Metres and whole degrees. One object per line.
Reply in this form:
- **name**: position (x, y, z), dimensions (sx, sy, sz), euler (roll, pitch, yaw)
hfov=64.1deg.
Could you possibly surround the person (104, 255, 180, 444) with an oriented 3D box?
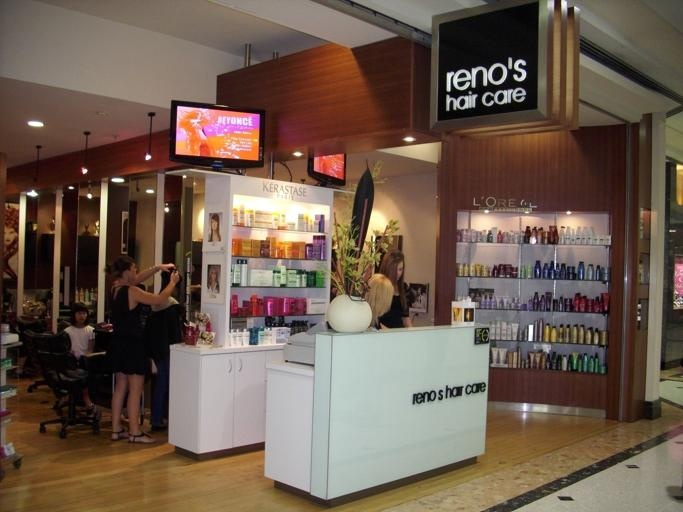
- **person**: position (-2.509, 1.162, 6.805), dimensions (0.667, 2.285, 0.691), euler (1, -1, -22)

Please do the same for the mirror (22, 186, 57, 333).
- **mirror**: position (-6.401, 0.034, 11.558), dimensions (0.443, 2.867, 1.613), euler (1, -1, -42)

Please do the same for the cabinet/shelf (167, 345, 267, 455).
- **cabinet/shelf**: position (-1.474, 1.766, 6.652), dimensions (0.735, 1.163, 1.245), euler (-7, -12, 38)

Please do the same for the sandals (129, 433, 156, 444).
- **sandals**: position (-2.431, 2.239, 6.695), dimensions (0.272, 0.105, 0.148), euler (0, -1, -10)

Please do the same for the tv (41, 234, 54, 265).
- **tv**: position (-6.251, -0.144, 11.589), dimensions (0.513, 0.628, 0.114), euler (0, -1, 44)

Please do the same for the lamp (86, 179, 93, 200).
- **lamp**: position (-4.854, -1.251, 10.512), dimensions (0.256, 0.336, 0.088), euler (0, -1, 39)

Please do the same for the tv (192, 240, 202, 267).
- **tv**: position (-2.205, -0.017, 8.325), dimensions (0.140, 0.400, 0.341), euler (1, -1, -18)

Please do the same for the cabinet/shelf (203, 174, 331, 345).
- **cabinet/shelf**: position (-1.086, 0.110, 6.795), dimensions (0.516, 2.107, 1.736), euler (-16, -9, 19)

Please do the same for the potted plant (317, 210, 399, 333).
- **potted plant**: position (0.152, 0.209, 5.615), dimensions (0.615, 1.210, 0.673), euler (-3, 3, -42)

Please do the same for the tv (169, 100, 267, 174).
- **tv**: position (-1.551, -1.517, 6.924), dimensions (1.079, 0.807, 0.120), euler (1, 4, -11)

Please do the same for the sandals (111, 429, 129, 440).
- **sandals**: position (-2.756, 2.253, 6.822), dimensions (0.096, 0.089, 0.205), euler (1, 1, 31)
